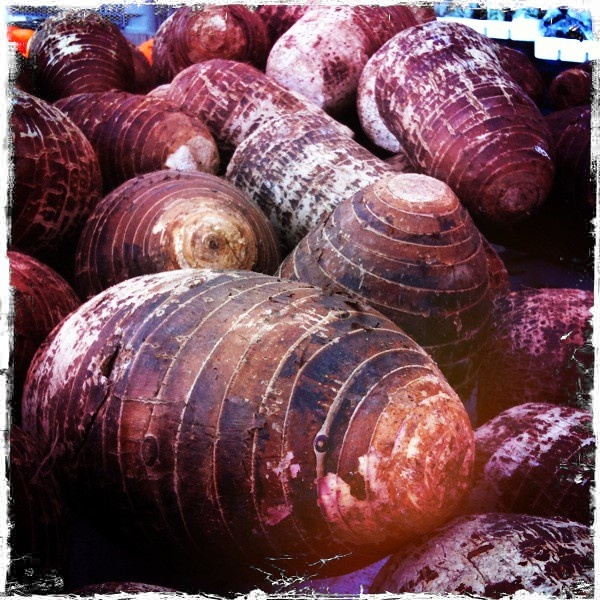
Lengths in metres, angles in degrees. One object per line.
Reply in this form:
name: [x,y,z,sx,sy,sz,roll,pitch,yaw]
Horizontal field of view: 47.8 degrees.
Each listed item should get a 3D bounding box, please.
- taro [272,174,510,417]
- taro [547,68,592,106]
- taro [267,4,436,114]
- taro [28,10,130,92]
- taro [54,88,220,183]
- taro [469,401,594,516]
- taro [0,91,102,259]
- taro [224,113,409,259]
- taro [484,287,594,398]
taro: [0.276,0.007,1.955,0.510,0.638,0.629,17,51,-21]
taro: [1.587,-1.245,3.970,0.119,0.225,0.406,-8,17,-11]
taro: [0.242,-1.332,3.342,0.375,0.309,0.777,26,42,18]
taro: [-1.097,-1.246,3.393,0.392,0.386,0.614,-8,52,-25]
taro: [-0.649,-0.719,2.791,0.597,0.396,0.344,18,38,21]
taro: [0.575,0.397,1.693,0.259,0.249,0.261,-12,17,30]
taro: [-0.830,-0.419,2.277,0.242,0.525,0.345,-12,-7,34]
taro: [0.066,-0.530,2.531,0.483,0.481,0.548,30,71,25]
taro: [0.740,0.145,2.061,0.240,0.399,0.203,12,-17,23]
